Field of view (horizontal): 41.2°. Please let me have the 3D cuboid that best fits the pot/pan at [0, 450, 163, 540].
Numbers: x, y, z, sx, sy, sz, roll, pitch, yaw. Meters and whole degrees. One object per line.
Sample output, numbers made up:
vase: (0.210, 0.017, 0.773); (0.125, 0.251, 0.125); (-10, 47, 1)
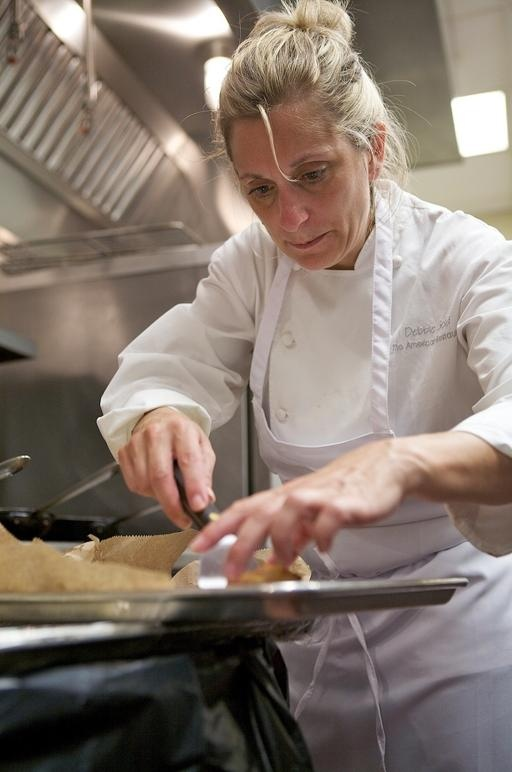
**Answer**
pot/pan: (-0.372, 0.213, 1.354); (0.327, 0.110, 0.192); (-15, -42, 17)
